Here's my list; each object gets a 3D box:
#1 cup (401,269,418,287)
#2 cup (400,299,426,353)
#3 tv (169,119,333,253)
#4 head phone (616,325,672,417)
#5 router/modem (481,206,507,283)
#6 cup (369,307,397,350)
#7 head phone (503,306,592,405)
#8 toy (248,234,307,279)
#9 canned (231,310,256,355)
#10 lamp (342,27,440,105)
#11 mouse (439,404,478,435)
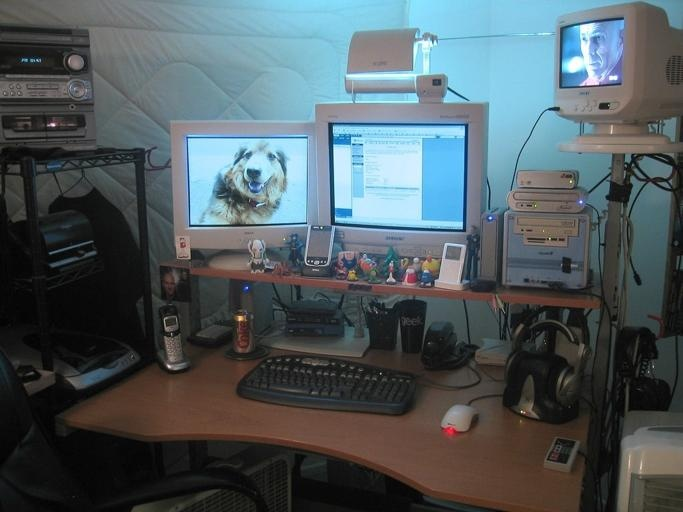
[{"bbox_3d":[0.246,0.076,2.091,0.058,0.057,0.049,-1,17,0],"label":"cup"},{"bbox_3d":[0.277,0.281,2.254,0.116,0.181,0.116,1,0,0],"label":"cup"},{"bbox_3d":[-0.353,-0.296,2.415,0.562,0.492,0.313,0,2,9],"label":"tv"},{"bbox_3d":[1.042,0.385,1.994,0.142,0.315,0.317,7,13,36],"label":"head phone"},{"bbox_3d":[0.531,-0.032,2.013,0.069,0.214,0.217,3,13,18],"label":"router/modem"},{"bbox_3d":[0.166,0.272,2.252,0.152,0.148,0.138,1,9,13],"label":"cup"},{"bbox_3d":[0.677,0.332,1.900,0.286,0.339,0.131,9,12,41],"label":"head phone"},{"bbox_3d":[-0.259,-0.011,2.292,0.160,0.114,0.159,-2,11,-6],"label":"toy"},{"bbox_3d":[-0.371,0.286,2.224,0.087,0.152,0.085,-1,3,-26],"label":"canned"},{"bbox_3d":[0.196,-0.752,2.225,0.353,0.242,0.177,1,22,5],"label":"lamp"},{"bbox_3d":[0.367,0.493,1.764,0.144,0.057,0.077,-9,14,-38],"label":"mouse"}]
